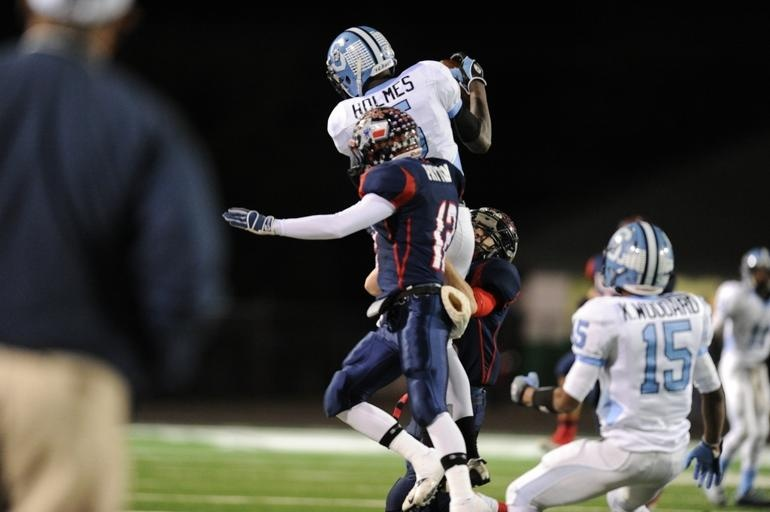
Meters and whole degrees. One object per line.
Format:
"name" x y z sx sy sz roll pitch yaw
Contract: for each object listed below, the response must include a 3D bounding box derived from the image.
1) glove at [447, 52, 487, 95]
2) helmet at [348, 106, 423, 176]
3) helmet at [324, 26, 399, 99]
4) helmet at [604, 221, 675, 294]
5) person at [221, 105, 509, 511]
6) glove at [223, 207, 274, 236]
"glove" 0.618 -1.423 7.888 0.120 0.327 0.245 -42 6 27
"helmet" 0.031 -0.750 6.744 0.435 0.455 0.380 7 9 42
"helmet" -0.249 -1.454 7.653 0.430 0.496 0.558 -18 37 -29
"helmet" 1.612 0.024 6.515 0.408 0.505 0.567 3 2 -10
"person" 0.090 0.330 6.695 1.409 2.642 0.632 2 -3 6
"glove" -0.876 -0.221 6.632 0.293 0.199 0.108 25 2 5
